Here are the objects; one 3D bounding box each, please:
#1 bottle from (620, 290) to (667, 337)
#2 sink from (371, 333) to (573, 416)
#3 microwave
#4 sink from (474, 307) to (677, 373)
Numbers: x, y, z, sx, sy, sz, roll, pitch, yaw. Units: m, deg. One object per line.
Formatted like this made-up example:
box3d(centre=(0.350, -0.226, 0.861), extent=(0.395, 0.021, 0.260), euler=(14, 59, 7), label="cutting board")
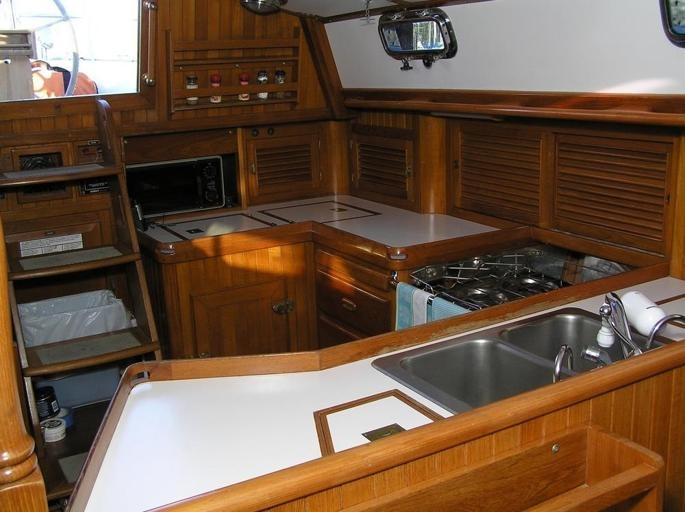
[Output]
box3d(centre=(0.873, 0.173, 1.480), extent=(0.108, 0.077, 0.128), euler=(-1, 23, -7), label="bottle")
box3d(centre=(0.336, 0.347, 1.393), extent=(0.394, 0.115, 0.299), euler=(-7, 14, -31), label="sink")
box3d(centre=(-1.038, -0.458, 3.276), extent=(0.783, 0.343, 0.453), euler=(-10, 18, -32), label="microwave")
box3d(centre=(0.714, 0.249, 1.524), extent=(0.323, 0.147, 0.299), euler=(-19, 23, -31), label="sink")
